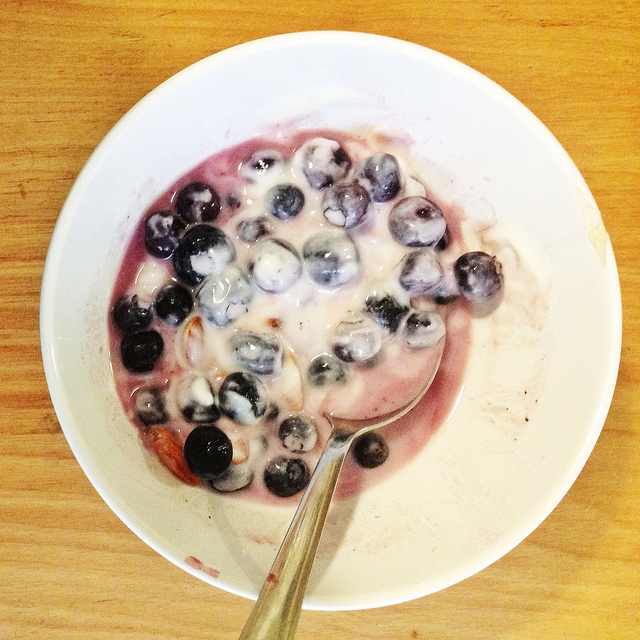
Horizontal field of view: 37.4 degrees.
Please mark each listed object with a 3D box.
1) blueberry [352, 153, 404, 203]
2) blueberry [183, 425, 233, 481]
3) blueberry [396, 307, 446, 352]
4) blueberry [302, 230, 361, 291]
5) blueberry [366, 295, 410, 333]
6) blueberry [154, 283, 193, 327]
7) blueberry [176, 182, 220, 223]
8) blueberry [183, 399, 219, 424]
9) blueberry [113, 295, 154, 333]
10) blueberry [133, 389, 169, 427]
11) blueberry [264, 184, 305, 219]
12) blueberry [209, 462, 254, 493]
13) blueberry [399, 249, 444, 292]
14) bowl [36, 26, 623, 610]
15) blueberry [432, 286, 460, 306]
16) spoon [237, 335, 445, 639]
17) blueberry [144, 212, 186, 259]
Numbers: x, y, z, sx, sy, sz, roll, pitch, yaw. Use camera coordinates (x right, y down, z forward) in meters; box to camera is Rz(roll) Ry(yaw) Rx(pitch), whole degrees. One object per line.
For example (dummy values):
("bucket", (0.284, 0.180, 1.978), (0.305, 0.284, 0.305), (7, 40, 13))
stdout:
("blueberry", (0.071, -0.176, 1.166), (0.053, 0.051, 0.078), (-24, 45, -31))
("blueberry", (-0.134, 0.155, 1.118), (0.063, 0.035, 0.058), (6, 88, 1))
("blueberry", (0.122, 0.011, 1.168), (0.057, 0.020, 0.048), (-3, 105, -1))
("blueberry", (0.011, -0.074, 1.155), (0.071, 0.042, 0.069), (-3, 92, 1))
("blueberry", (0.079, -0.010, 1.166), (0.047, 0.016, 0.045), (39, 95, -18))
("blueberry", (-0.184, -0.022, 1.144), (0.052, 0.028, 0.046), (0, 92, -6))
("blueberry", (-0.151, -0.146, 1.165), (0.051, 0.023, 0.049), (-1, 85, 0))
("blueberry", (-0.144, 0.113, 1.146), (0.031, 0.033, 0.012), (0, 41, -5))
("blueberry", (-0.226, -0.010, 1.145), (0.050, 0.027, 0.041), (1, 87, -12))
("blueberry", (-0.207, 0.105, 1.149), (0.034, 0.011, 0.045), (-15, 85, -1))
("blueberry", (-0.048, -0.149, 1.175), (0.048, 0.023, 0.042), (19, 85, 2))
("blueberry", (-0.104, 0.192, 1.142), (0.039, 0.039, 0.022), (2, 41, -6))
("blueberry", (0.119, -0.051, 1.196), (0.081, 0.076, 0.026), (13, 111, 15))
("bowl", (0.015, 0.004, 1.130), (0.665, 0.156, 0.663), (0, 85, 0))
("blueberry", (0.155, -0.029, 1.192), (0.026, 0.013, 0.028), (27, 113, -1))
("spoon", (0.016, 0.190, 1.107), (0.109, 0.220, 0.426), (28, 86, 3))
("blueberry", (-0.185, -0.101, 1.127), (0.055, 0.019, 0.049), (21, 94, -19))
